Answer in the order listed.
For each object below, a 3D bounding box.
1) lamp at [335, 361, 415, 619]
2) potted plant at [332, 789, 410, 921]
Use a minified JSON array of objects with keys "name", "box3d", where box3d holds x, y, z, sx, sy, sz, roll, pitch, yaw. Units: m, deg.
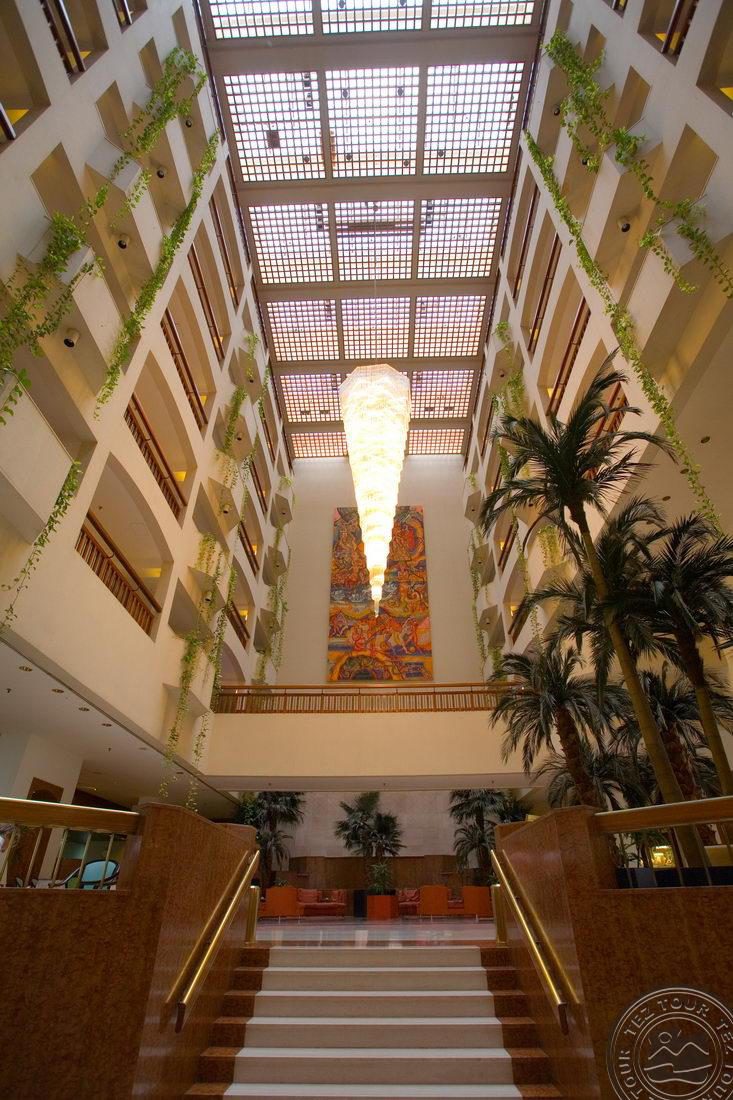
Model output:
[{"name":"lamp","box3d":[0.135,-1.273,7.722,1.008,3.959,1.256,1,-40,-7]},{"name":"potted plant","box3d":[0.140,8.740,16.139,2.045,3.914,2.055,1,-30,-5]}]
